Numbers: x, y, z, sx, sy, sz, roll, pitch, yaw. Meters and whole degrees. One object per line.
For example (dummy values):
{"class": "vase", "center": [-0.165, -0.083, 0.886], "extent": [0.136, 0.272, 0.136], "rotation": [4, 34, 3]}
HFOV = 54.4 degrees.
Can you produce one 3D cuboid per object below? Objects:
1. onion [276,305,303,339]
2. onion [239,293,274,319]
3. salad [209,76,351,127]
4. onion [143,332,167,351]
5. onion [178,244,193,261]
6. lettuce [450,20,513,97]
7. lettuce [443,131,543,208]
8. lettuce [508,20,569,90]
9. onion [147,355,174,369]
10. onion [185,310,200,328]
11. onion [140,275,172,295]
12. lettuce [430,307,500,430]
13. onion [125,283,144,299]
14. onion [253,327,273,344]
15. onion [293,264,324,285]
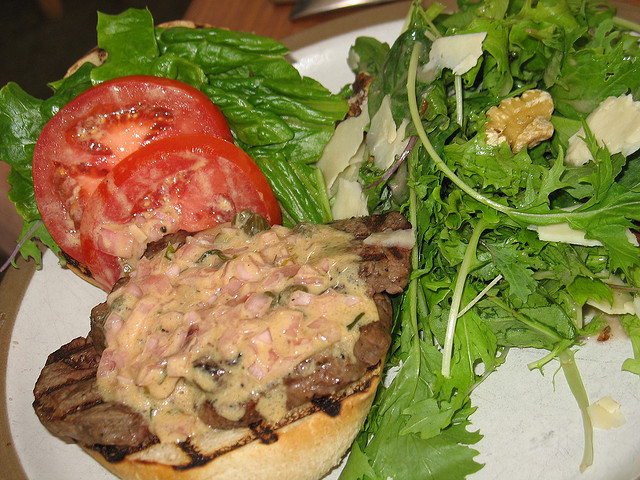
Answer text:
{"class": "onion", "center": [-0.167, 0.429, 3.278], "extent": [0.141, 0.069, 0.147], "rotation": [9, 53, 1]}
{"class": "onion", "center": [-0.346, 0.355, 3.314], "extent": [0.110, 0.044, 0.155], "rotation": [37, 81, -4]}
{"class": "salad", "center": [-0.286, -1.040, 4.545], "extent": [0.963, 0.203, 0.396], "rotation": [16, 82, 7]}
{"class": "onion", "center": [-0.895, 0.545, 3.352], "extent": [0.115, 0.056, 0.076], "rotation": [-5, 53, -10]}
{"class": "onion", "center": [-0.770, 0.065, 3.569], "extent": [0.034, 0.037, 0.136], "rotation": [31, 68, 10]}
{"class": "lettuce", "center": [1.108, -1.152, 4.028], "extent": [0.325, 0.494, 0.268], "rotation": [1, 23, 16]}
{"class": "lettuce", "center": [1.007, -0.421, 3.663], "extent": [0.505, 0.369, 0.131], "rotation": [22, 28, 15]}
{"class": "lettuce", "center": [1.412, -1.245, 4.033], "extent": [0.340, 0.464, 0.296], "rotation": [11, 30, 33]}
{"class": "onion", "center": [-0.848, 0.655, 3.292], "extent": [0.069, 0.022, 0.076], "rotation": [5, 49, 35]}
{"class": "onion", "center": [-0.693, 0.421, 3.319], "extent": [0.055, 0.022, 0.082], "rotation": [14, 80, 12]}
{"class": "onion", "center": [-0.926, 0.255, 3.476], "extent": [0.121, 0.051, 0.128], "rotation": [-29, 59, -12]}
{"class": "lettuce", "center": [0.835, 0.791, 3.756], "extent": [0.374, 0.786, 0.122], "rotation": [13, 17, 4]}
{"class": "onion", "center": [-1.042, 0.283, 3.501], "extent": [0.072, 0.034, 0.076], "rotation": [40, 53, -1]}
{"class": "onion", "center": [-0.295, 0.512, 3.231], "extent": [0.084, 0.041, 0.065], "rotation": [-19, 57, -19]}
{"class": "onion", "center": [-0.065, 0.191, 3.393], "extent": [0.168, 0.038, 0.100], "rotation": [5, 53, -3]}
